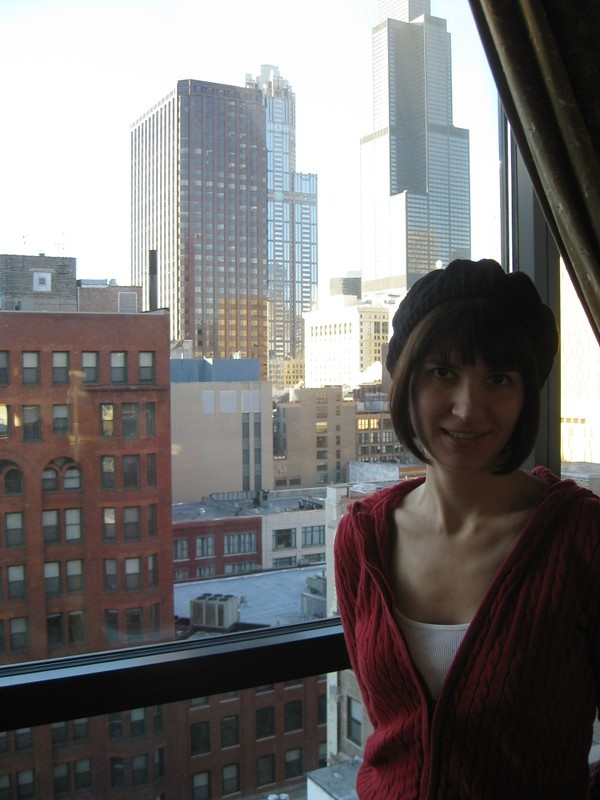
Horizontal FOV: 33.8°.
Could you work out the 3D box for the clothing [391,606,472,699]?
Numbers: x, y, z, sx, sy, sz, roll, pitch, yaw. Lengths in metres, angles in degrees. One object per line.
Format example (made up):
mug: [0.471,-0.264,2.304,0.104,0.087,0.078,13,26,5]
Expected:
clothing: [0.189,0.360,1.428,0.134,0.183,0.083,-2,-7,16]
